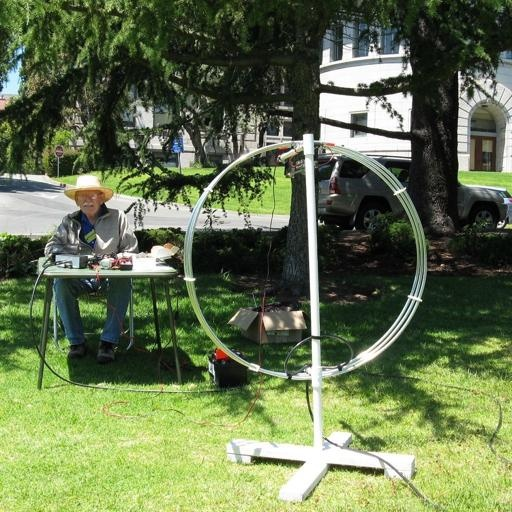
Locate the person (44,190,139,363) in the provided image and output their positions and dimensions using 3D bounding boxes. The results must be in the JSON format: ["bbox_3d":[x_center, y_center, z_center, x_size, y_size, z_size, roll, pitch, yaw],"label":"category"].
[{"bbox_3d":[-1.253,0.098,5.798,0.656,1.365,0.695,1,4,14],"label":"person"}]

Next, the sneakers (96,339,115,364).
[{"bbox_3d":[-1.138,0.724,5.625,0.108,0.156,0.340,1,-9,-14],"label":"sneakers"}]

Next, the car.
[{"bbox_3d":[2.720,-0.935,13.684,3.419,1.686,1.706,-5,8,-14],"label":"car"}]

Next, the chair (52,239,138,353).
[{"bbox_3d":[-1.307,0.227,5.966,0.498,1.015,0.878,-2,2,-14],"label":"chair"}]

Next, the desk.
[{"bbox_3d":[-1.058,0.434,5.374,1.019,0.859,0.982,-2,8,-10],"label":"desk"}]
